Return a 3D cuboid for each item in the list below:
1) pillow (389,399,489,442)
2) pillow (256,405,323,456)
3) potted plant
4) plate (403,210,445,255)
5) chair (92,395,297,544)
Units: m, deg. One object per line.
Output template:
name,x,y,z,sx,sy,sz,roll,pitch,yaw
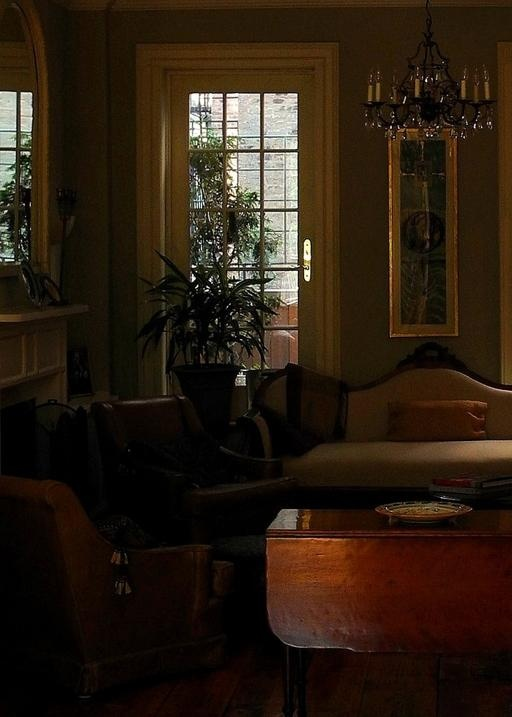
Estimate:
pillow,1.011,0.340,3.623,0.538,0.199,0.252,1,7,11
pillow,0.168,0.392,3.447,0.294,0.126,0.231,21,4,12
potted plant,-0.330,-0.064,3.988,0.912,1.167,0.994,0,-2,-21
plate,1.007,-0.762,3.960,0.246,0.257,0.083,2,4,5
chair,-0.228,0.430,2.977,0.729,0.902,0.657,-6,-3,39
